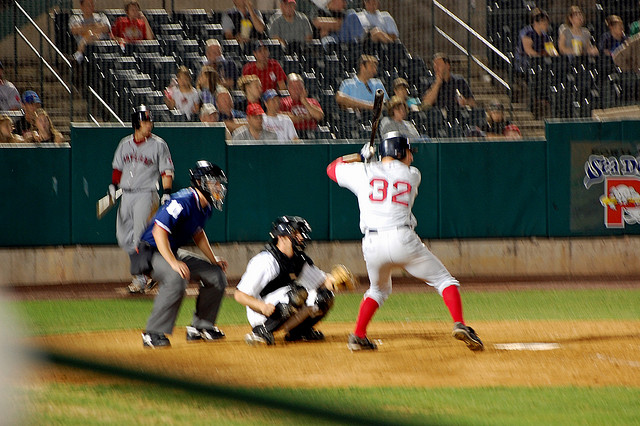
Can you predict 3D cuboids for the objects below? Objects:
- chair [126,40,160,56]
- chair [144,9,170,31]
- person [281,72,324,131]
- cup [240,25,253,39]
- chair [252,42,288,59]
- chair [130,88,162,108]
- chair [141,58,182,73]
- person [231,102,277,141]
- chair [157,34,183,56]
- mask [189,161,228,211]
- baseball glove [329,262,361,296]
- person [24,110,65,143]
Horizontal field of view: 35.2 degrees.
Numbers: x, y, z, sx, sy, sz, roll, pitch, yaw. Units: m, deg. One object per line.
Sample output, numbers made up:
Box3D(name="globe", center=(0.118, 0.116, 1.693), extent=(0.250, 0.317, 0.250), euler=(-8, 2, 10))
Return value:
Box3D(name="chair", center=(-3.237, -2.998, 18.332), extent=(0.599, 0.265, 0.304), euler=(-2, 10, -12))
Box3D(name="chair", center=(-3.123, -3.710, 19.168), extent=(0.432, 0.473, 0.450), euler=(2, 4, -6))
Box3D(name="person", center=(-0.317, -1.876, 17.353), extent=(0.545, 1.343, 0.423), euler=(-18, -1, -11))
Box3D(name="cup", center=(-1.355, -3.315, 18.465), extent=(0.212, 0.273, 0.227), euler=(2, 8, 0))
Box3D(name="chair", center=(-0.909, -2.937, 18.150), extent=(0.649, 0.263, 0.229), euler=(6, 11, 26))
Box3D(name="chair", center=(-3.037, -2.002, 17.479), extent=(0.549, 0.303, 0.302), euler=(-4, 11, -21))
Box3D(name="chair", center=(-2.868, -2.649, 18.079), extent=(0.678, 0.246, 0.304), euler=(-1, 10, -10))
Box3D(name="person", center=(-1.132, -1.529, 16.984), extent=(0.777, 0.607, 0.303), euler=(0, 10, -3))
Box3D(name="chair", center=(-2.765, -3.087, 18.518), extent=(0.443, 0.373, 0.638), euler=(-1, 11, -10))
Box3D(name="mask", center=(-1.415, -0.337, 12.603), extent=(0.416, 0.595, 0.263), euler=(0, 10, 0))
Box3D(name="baseball glove", center=(0.332, 0.951, 14.365), extent=(0.445, 0.407, 0.314), euler=(22, 24, -26))
Box3D(name="person", center=(-4.651, -1.383, 16.888), extent=(0.754, 0.610, 0.353), euler=(5, -17, -27))
